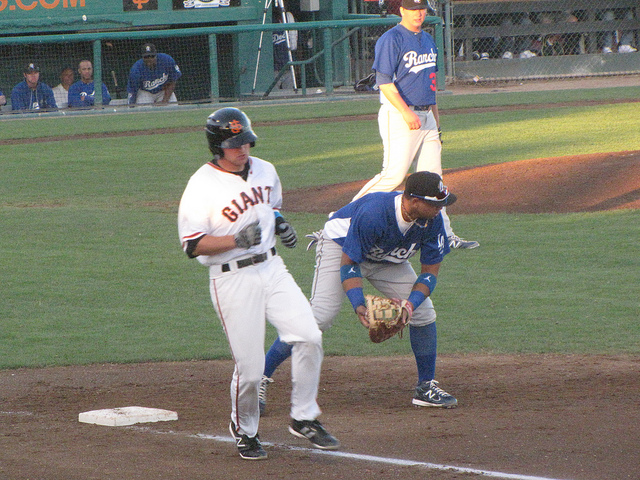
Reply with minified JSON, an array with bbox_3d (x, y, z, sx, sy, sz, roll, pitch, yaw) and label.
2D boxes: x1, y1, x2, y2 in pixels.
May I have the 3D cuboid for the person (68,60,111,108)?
[{"bbox_3d":[-4.577,-3.027,26.123,0.777,0.904,1.575,-2,10,-7],"label":"person"}]

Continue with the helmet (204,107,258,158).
[{"bbox_3d":[-0.846,-1.013,12.730,0.460,0.449,0.316,-2,11,-3],"label":"helmet"}]

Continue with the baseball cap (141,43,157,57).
[{"bbox_3d":[-2.917,-3.215,22.741,0.264,0.137,0.317,-8,18,-9],"label":"baseball cap"}]

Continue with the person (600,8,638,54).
[{"bbox_3d":[7.209,-4.950,31.680,0.923,1.021,0.598,-3,12,-11],"label":"person"}]

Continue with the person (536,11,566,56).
[{"bbox_3d":[5.519,-4.857,31.593,0.815,0.952,0.279,-9,6,22],"label":"person"}]

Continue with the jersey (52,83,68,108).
[{"bbox_3d":[-5.113,-2.798,26.212,0.279,0.424,0.551,-3,10,-10],"label":"jersey"}]

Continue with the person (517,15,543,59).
[{"bbox_3d":[5.057,-4.803,31.736,0.775,0.941,0.272,3,9,14],"label":"person"}]

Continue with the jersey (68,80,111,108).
[{"bbox_3d":[-4.723,-2.848,26.359,0.768,0.539,0.272,5,-14,-24],"label":"jersey"}]

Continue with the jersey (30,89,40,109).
[{"bbox_3d":[-5.480,-2.665,25.548,0.137,0.367,0.215,-5,12,-17],"label":"jersey"}]

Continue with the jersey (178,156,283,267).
[{"bbox_3d":[-0.818,-0.304,12.893,0.877,0.953,1.444,11,19,38],"label":"jersey"}]

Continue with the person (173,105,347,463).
[{"bbox_3d":[-0.563,0.412,12.666,1.210,3.254,1.165,-8,14,-29],"label":"person"}]

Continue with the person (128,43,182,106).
[{"bbox_3d":[-2.987,-2.910,23.877,0.936,1.126,2.203,-3,10,-7],"label":"person"}]
